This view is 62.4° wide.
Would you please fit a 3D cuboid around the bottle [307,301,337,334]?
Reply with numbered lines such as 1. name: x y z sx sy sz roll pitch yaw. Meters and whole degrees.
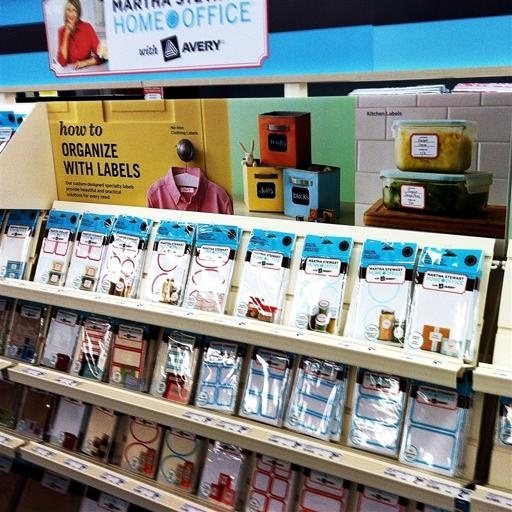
1. bottle: 0.179 0.165 1.152 0.080 0.082 0.034 5 8 18
